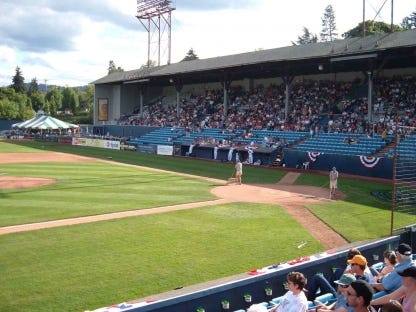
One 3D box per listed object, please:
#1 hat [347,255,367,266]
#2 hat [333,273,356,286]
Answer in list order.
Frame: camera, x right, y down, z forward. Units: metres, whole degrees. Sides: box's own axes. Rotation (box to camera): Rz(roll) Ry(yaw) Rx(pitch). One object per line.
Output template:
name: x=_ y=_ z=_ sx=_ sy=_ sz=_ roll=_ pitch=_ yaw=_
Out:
hat: x=4.589 y=3.211 z=13.888 sx=0.471 sy=0.234 sz=0.325 roll=2 pitch=-3 yaw=15
hat: x=3.918 y=3.554 z=12.890 sx=0.523 sy=0.178 sz=0.350 roll=-2 pitch=-2 yaw=-12
